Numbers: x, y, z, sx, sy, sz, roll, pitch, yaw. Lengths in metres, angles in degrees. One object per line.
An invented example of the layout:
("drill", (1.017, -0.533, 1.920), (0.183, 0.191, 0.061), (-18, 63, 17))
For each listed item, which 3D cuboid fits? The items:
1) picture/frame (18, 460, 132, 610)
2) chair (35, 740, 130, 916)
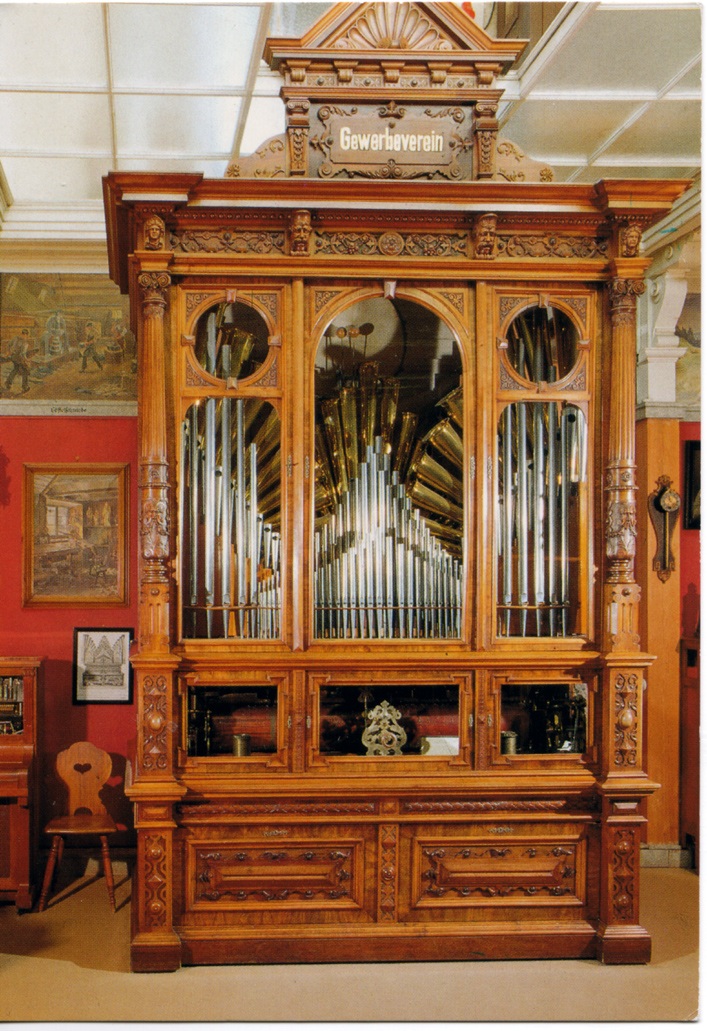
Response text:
("picture/frame", (-1.761, 0.147, 8.880), (0.897, 1.254, 0.099), (0, -5, -5))
("chair", (-1.559, 1.762, 8.295), (0.498, 0.859, 0.991), (0, -3, -9))
